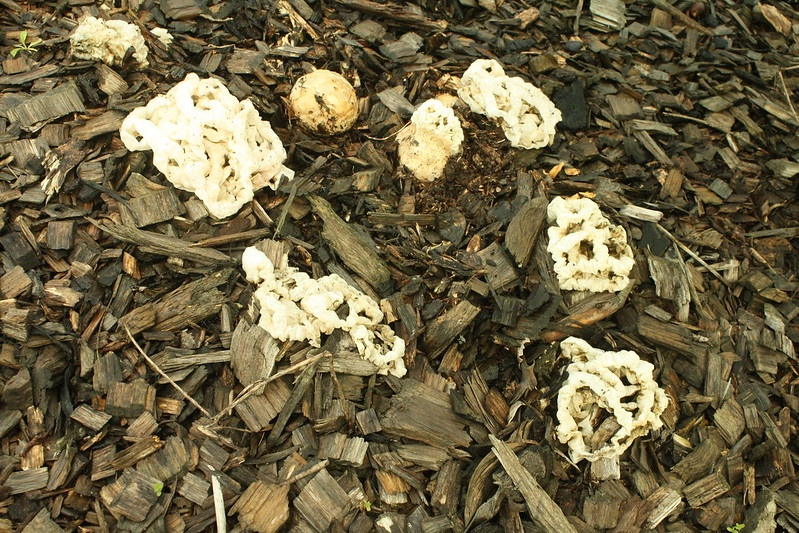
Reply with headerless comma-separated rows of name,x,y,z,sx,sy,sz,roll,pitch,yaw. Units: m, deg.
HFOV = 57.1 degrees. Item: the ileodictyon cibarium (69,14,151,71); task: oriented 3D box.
ileodictyon cibarium,-2.166,-1.674,5.501,0.565,0.230,0.288,12,62,-5
